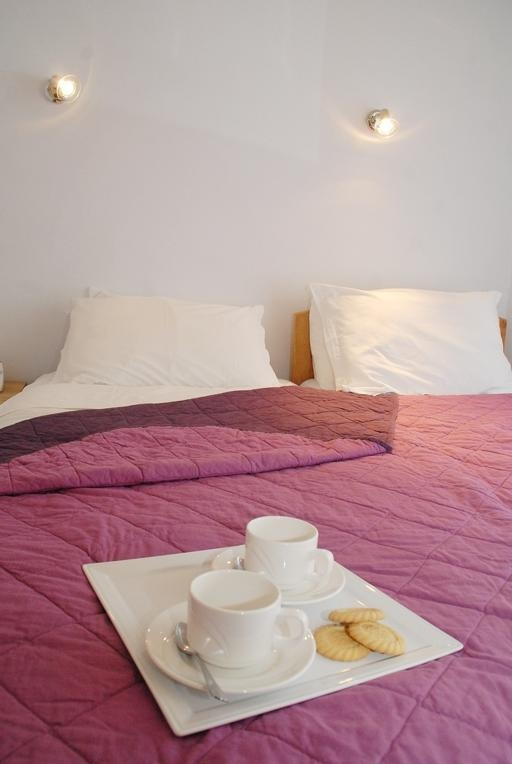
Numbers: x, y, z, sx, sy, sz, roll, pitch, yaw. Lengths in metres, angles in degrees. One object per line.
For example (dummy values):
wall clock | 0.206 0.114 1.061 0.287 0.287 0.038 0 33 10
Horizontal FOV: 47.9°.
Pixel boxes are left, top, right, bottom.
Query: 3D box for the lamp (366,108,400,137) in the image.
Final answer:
lamp | 0.616 -1.270 2.827 0.132 0.133 0.124 -17 45 9

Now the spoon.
spoon | -0.044 0.215 0.445 0.019 0.015 0.101 22 8 -23

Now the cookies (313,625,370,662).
cookies | 0.073 0.233 0.517 0.032 0.007 0.031 -3 18 -19

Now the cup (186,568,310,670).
cup | -0.007 0.198 0.473 0.089 0.059 0.067 7 7 8

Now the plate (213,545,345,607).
plate | 0.030 0.190 0.571 0.125 0.046 0.123 10 -5 -33

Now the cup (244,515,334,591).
cup | 0.033 0.185 0.605 0.074 0.062 0.098 -4 11 -44

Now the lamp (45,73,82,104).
lamp | -0.761 -1.162 2.274 0.081 0.111 0.101 44 9 17
